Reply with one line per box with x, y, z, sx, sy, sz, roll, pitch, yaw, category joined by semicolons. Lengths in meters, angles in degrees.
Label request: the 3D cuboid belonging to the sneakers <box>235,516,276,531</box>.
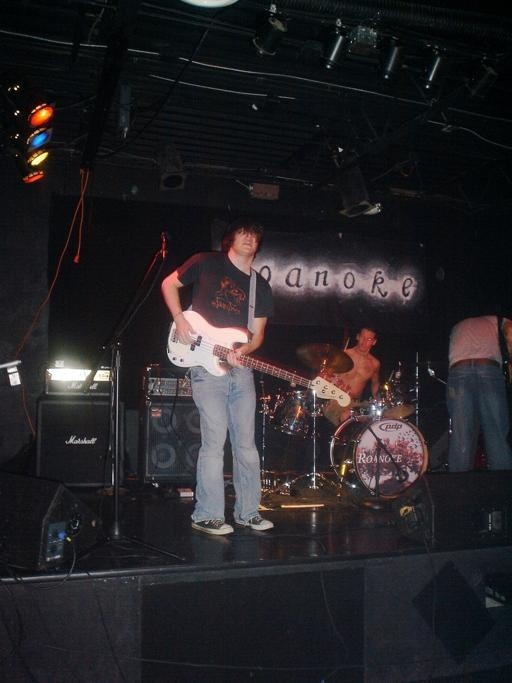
0.008;1.089;3.897;0.213;0.074;0.081;-17;-24;42;sneakers

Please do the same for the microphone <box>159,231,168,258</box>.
-0.450;-0.471;3.218;0.033;0.164;0.132;3;-9;-8;microphone

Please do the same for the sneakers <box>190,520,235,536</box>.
-0.249;1.082;3.790;0.243;0.083;0.086;-11;-16;34;sneakers

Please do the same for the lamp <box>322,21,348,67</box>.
0.525;-1.926;4.249;0.131;0.186;0.240;3;-9;-7;lamp

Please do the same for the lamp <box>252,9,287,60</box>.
0.086;-1.967;4.125;0.172;0.194;0.301;4;-9;-12;lamp

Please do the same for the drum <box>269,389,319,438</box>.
0.315;0.583;5.399;0.405;0.363;0.393;28;-6;4;drum

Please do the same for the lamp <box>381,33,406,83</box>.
0.919;-1.894;4.361;0.113;0.187;0.213;3;-9;-9;lamp
